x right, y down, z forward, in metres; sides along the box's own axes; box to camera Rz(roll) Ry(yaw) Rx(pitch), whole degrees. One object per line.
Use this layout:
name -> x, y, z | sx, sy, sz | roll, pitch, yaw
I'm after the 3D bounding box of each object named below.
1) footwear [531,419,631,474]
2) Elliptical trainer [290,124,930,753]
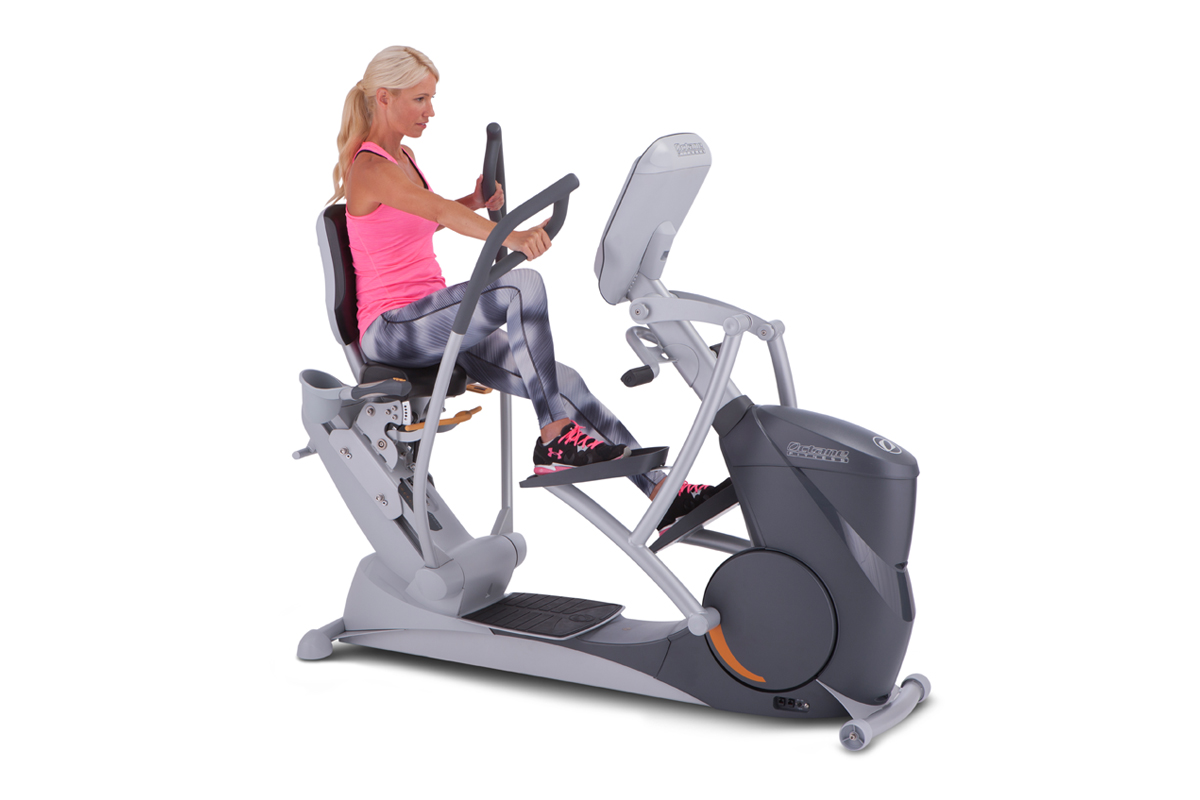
footwear -> -0.055, 0.174, 3.852 | 0.454, 0.160, 0.168 | -10, -9, 44
Elliptical trainer -> 0.005, 0.125, 4.247 | 2.861, 1.940, 1.201 | 2, 3, 39
